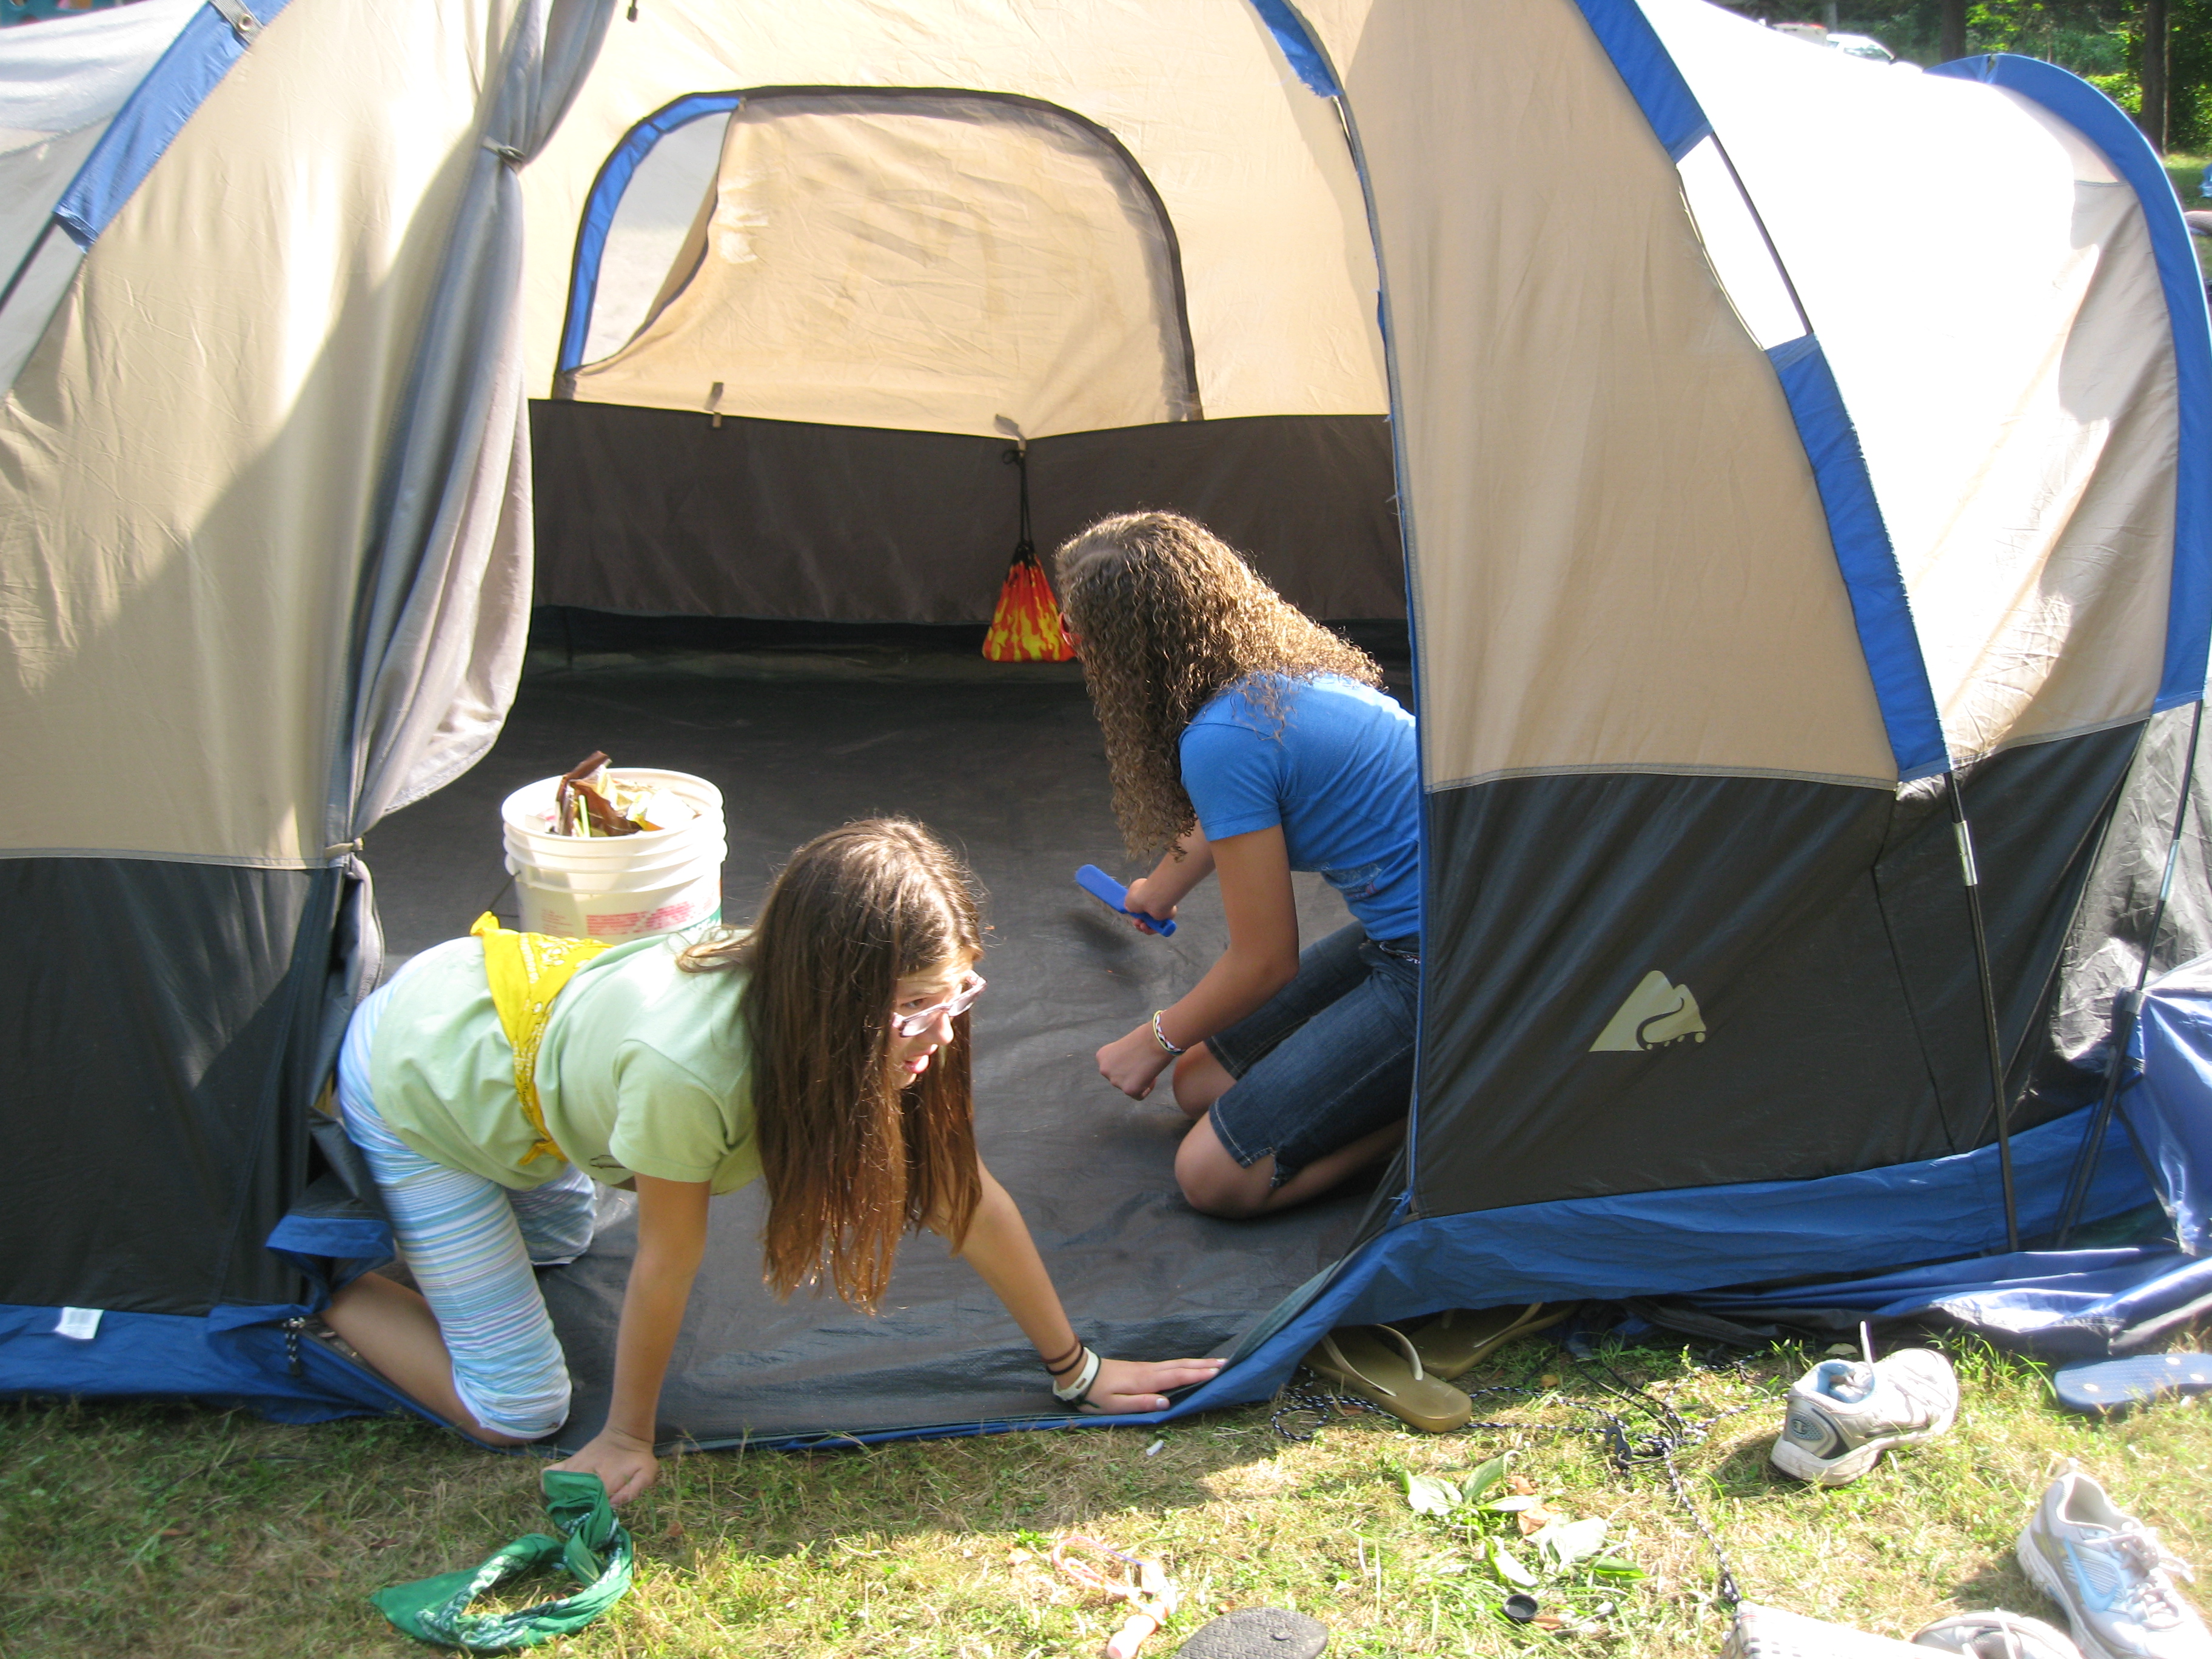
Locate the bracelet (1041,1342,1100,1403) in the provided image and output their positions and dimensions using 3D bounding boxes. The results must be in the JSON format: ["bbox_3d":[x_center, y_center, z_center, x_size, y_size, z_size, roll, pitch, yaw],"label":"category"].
[{"bbox_3d":[-0.053,0.918,3.435,0.093,0.050,0.085,-31,37,23],"label":"bracelet"}]

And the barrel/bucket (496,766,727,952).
[{"bbox_3d":[-0.964,0.042,3.993,0.389,0.263,0.395,-1,13,0],"label":"barrel/bucket"}]

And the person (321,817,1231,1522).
[{"bbox_3d":[-0.647,0.456,3.274,1.477,1.040,0.715,12,23,13],"label":"person"}]

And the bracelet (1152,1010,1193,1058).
[{"bbox_3d":[0.120,0.386,3.922,0.031,0.064,0.081,-36,81,-13],"label":"bracelet"}]

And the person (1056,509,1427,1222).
[{"bbox_3d":[0.257,0.049,3.955,0.858,1.318,0.711,-5,16,27],"label":"person"}]

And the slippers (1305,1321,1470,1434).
[{"bbox_3d":[0.502,0.947,3.493,0.117,0.077,0.274,-19,32,-28],"label":"slippers"}]

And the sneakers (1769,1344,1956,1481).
[{"bbox_3d":[1.253,0.943,3.375,0.360,0.152,0.148,-21,24,-30],"label":"sneakers"}]
